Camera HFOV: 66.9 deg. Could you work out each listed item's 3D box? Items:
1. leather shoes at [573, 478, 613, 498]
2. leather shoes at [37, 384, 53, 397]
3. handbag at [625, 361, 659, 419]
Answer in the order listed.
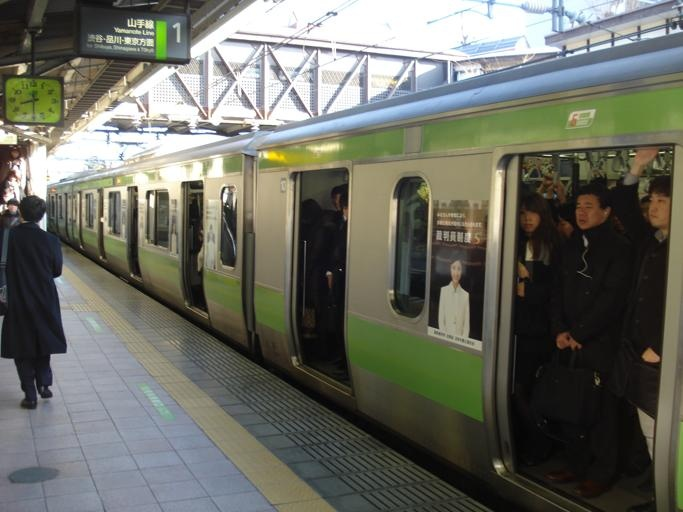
[{"bbox_3d":[1.766,1.632,3.624,0.223,0.104,0.121,3,5,18],"label":"leather shoes"},{"bbox_3d":[-3.399,1.555,5.935,0.117,0.144,0.191,3,-2,-35],"label":"leather shoes"},{"bbox_3d":[1.981,0.857,3.360,0.109,0.338,0.260,1,5,1],"label":"handbag"}]
